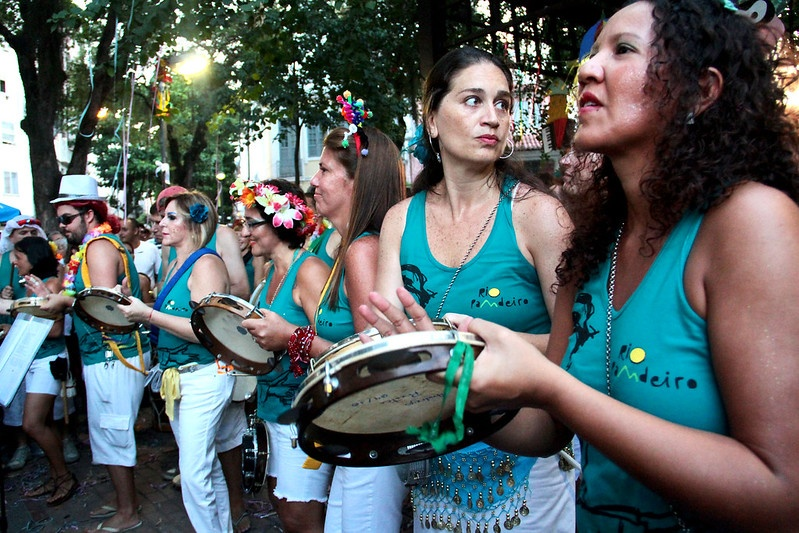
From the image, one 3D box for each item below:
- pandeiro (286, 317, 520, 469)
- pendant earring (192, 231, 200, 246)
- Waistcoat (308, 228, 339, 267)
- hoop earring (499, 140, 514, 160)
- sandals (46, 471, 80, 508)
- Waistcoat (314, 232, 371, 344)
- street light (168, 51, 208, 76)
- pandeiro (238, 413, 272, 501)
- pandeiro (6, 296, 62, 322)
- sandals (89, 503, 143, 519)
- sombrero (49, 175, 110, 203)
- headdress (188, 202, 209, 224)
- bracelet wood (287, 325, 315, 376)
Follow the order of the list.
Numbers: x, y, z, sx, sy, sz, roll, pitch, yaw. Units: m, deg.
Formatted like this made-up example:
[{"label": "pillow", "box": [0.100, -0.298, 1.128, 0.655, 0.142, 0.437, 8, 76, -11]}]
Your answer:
[{"label": "pandeiro", "box": [-0.028, 0.501, 2.491, 0.605, 0.164, 0.626, 9, -44, -25]}, {"label": "pendant earring", "box": [-1.709, -0.225, 5.672, 0.095, 0.096, 0.023, -24, -6, 24]}, {"label": "Waistcoat", "box": [-0.540, -0.127, 4.794, 0.141, 0.274, 0.269, 9, -11, -30]}, {"label": "hoop earring", "box": [0.566, -0.635, 3.705, 0.024, 0.106, 0.107, 23, 16, 40]}, {"label": "sandals", "box": [-3.101, 2.047, 6.220, 0.125, 0.144, 0.353, 0, -2, -6]}, {"label": "Waistcoat", "box": [-0.386, 0.126, 4.139, 0.205, 0.614, 0.447, 10, -10, -4]}, {"label": "street light", "box": [-2.669, -2.564, 8.645, 0.396, 0.282, 0.709, 2, 3, -27]}, {"label": "pandeiro", "box": [-1.034, 1.319, 4.793, 0.208, 0.659, 0.823, 0, -13, -13]}, {"label": "pandeiro", "box": [-3.287, 0.384, 5.983, 0.311, 0.088, 0.307, -21, -24, 14]}, {"label": "sandals", "box": [-2.470, 2.138, 5.922, 0.428, 0.122, 0.191, 4, -11, 0]}, {"label": "sombrero", "box": [-3.410, -0.827, 7.208, 0.398, 0.255, 0.463, -2, -5, -33]}, {"label": "headdress", "box": [-1.675, -0.442, 5.641, 0.145, 0.158, 0.070, -3, -12, -10]}, {"label": "bracelet wood", "box": [-0.587, 0.496, 4.084, 0.120, 0.291, 0.241, 19, -16, -37]}]
